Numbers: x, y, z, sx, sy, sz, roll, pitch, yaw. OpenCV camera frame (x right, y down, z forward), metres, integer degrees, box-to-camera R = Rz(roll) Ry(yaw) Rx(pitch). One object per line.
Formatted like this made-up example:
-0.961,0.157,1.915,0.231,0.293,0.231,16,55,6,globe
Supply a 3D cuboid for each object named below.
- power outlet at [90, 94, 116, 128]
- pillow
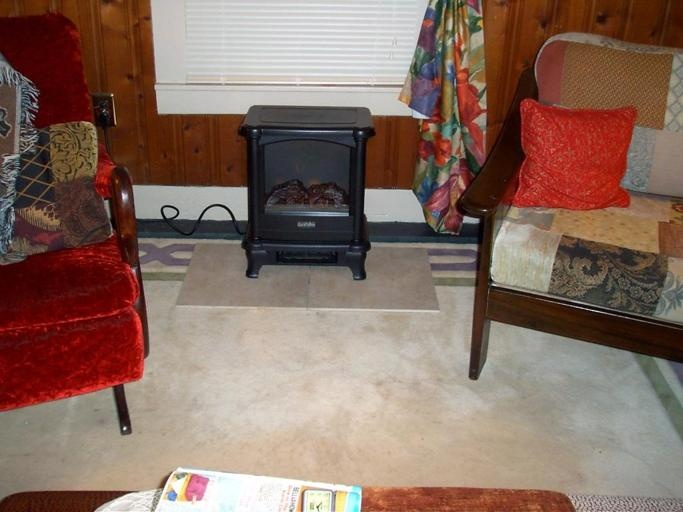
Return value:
-1.119,-0.707,2.629,0.094,0.173,0.098,2,44,-11,power outlet
0.878,-0.370,2.101,0.423,0.397,0.177,2,20,11,pillow
